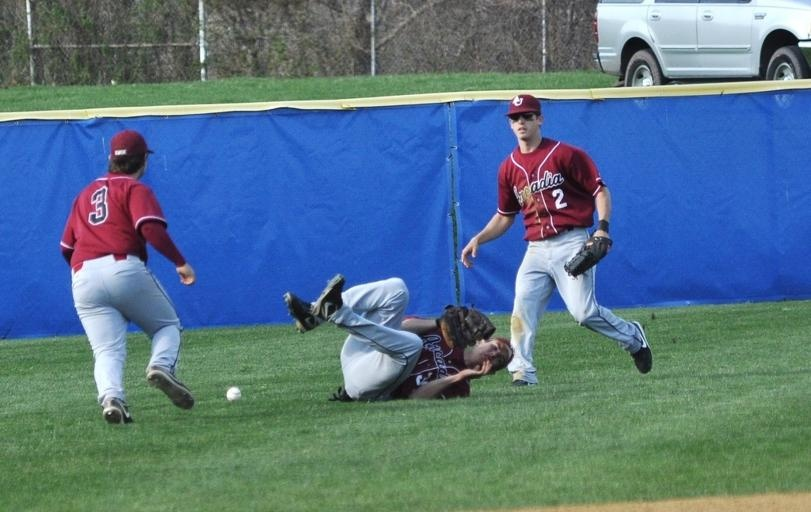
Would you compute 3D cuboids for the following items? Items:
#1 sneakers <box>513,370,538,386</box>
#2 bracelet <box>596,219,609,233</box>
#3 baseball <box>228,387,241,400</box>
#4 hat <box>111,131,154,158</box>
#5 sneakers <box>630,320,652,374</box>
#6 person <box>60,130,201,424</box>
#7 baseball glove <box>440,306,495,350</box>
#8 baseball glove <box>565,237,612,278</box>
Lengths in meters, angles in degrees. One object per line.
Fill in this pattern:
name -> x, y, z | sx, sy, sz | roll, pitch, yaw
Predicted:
sneakers -> 1.413, 1.445, 17.064 | 0.226, 0.155, 0.171 | 0, -5, 4
bracelet -> 2.305, -0.341, 16.860 | 0.136, 0.117, 0.142 | 4, 9, 10
baseball -> -1.982, 1.620, 16.915 | 0.140, 0.141, 0.139 | -30, 59, -32
hat -> -3.109, -1.299, 16.624 | 0.278, 0.227, 0.409 | 4, 15, 23
sneakers -> 2.810, 1.129, 17.218 | 0.213, 0.667, 0.262 | 10, 32, 42
person -> -3.094, 0.237, 16.412 | 1.283, 3.199, 1.068 | -8, 10, -14
baseball glove -> 0.691, 0.788, 16.355 | 0.530, 0.276, 0.420 | 5, -19, 44
baseball glove -> 2.116, -0.003, 16.817 | 0.544, 0.356, 0.180 | -43, 26, 8
